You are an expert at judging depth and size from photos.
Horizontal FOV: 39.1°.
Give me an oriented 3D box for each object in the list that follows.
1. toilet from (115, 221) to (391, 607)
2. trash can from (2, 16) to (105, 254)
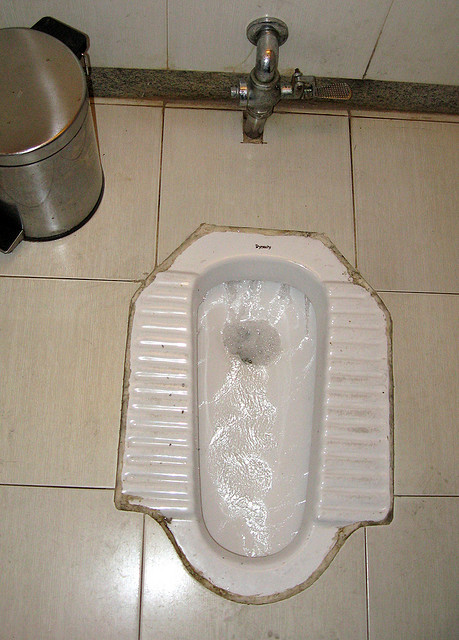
[{"bbox_3d":[0.052,0.189,1.318,0.512,0.182,0.673,0,72,0],"label":"toilet"},{"bbox_3d":[-0.338,-0.301,1.180,0.184,0.323,0.298,0,70,-3],"label":"trash can"}]
